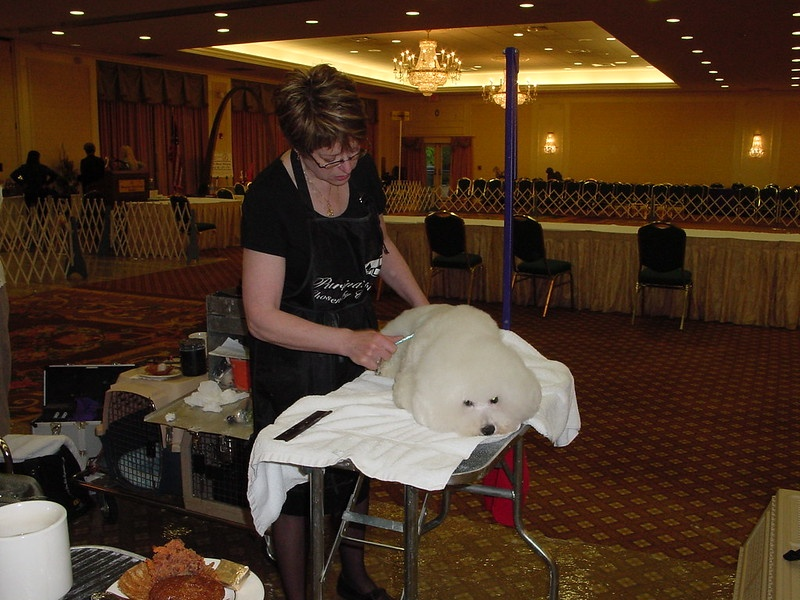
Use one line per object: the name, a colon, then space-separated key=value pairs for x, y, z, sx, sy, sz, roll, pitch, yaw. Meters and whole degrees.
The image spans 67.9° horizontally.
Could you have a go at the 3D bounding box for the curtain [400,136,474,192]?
curtain: x=1.197 y=-4.534 z=20.354 sx=2.515 sy=1.921 sz=0.249 roll=0 pitch=1 yaw=-8

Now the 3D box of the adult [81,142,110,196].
adult: x=-5.495 y=-2.288 z=10.516 sx=0.592 sy=0.907 sz=0.332 roll=6 pitch=8 yaw=35

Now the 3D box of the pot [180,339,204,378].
pot: x=-0.944 y=0.261 z=2.685 sx=0.110 sy=0.156 sz=0.124 roll=-2 pitch=7 yaw=-21

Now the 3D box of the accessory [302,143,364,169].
accessory: x=-0.171 y=-0.356 z=1.489 sx=0.142 sy=0.060 sz=0.058 roll=0 pitch=6 yaw=-9

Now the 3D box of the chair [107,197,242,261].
chair: x=-3.802 y=-1.116 z=9.722 sx=1.561 sy=0.794 sz=1.172 roll=4 pitch=14 yaw=19

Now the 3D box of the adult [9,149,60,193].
adult: x=-6.220 y=-2.117 z=10.056 sx=0.681 sy=0.734 sz=0.348 roll=1 pitch=7 yaw=2

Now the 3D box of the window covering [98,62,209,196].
window covering: x=-5.576 y=-3.759 z=13.410 sx=0.222 sy=2.665 sz=2.822 roll=21 pitch=23 yaw=35

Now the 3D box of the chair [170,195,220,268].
chair: x=-3.378 y=-1.209 z=9.772 sx=0.617 sy=0.947 sz=0.546 roll=-11 pitch=25 yaw=-28

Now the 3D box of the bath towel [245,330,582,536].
bath towel: x=0.076 y=0.285 z=1.458 sx=0.472 sy=0.322 sz=0.786 roll=23 pitch=40 yaw=36

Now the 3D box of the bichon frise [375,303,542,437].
bichon frise: x=0.140 y=0.189 z=1.451 sx=0.299 sy=0.174 sz=0.437 roll=-7 pitch=12 yaw=-13
